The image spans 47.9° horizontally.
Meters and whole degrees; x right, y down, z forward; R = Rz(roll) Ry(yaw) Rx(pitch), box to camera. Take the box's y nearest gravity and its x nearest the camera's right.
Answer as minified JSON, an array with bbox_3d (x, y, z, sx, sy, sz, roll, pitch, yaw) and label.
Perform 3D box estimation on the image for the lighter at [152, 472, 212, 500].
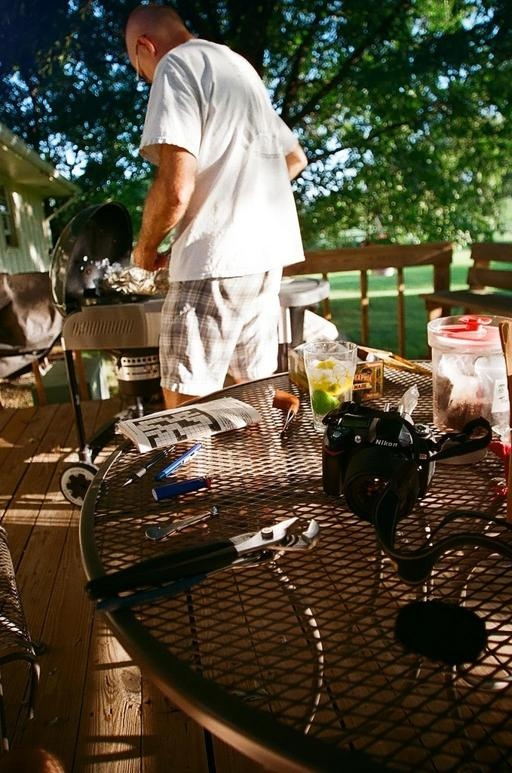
[{"bbox_3d":[-0.106,0.140,0.828,0.102,0.028,0.028,-4,-18,-28],"label":"lighter"}]

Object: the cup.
[{"bbox_3d":[0.136,-0.010,1.070,0.111,0.147,0.070,7,17,36],"label":"cup"}]
